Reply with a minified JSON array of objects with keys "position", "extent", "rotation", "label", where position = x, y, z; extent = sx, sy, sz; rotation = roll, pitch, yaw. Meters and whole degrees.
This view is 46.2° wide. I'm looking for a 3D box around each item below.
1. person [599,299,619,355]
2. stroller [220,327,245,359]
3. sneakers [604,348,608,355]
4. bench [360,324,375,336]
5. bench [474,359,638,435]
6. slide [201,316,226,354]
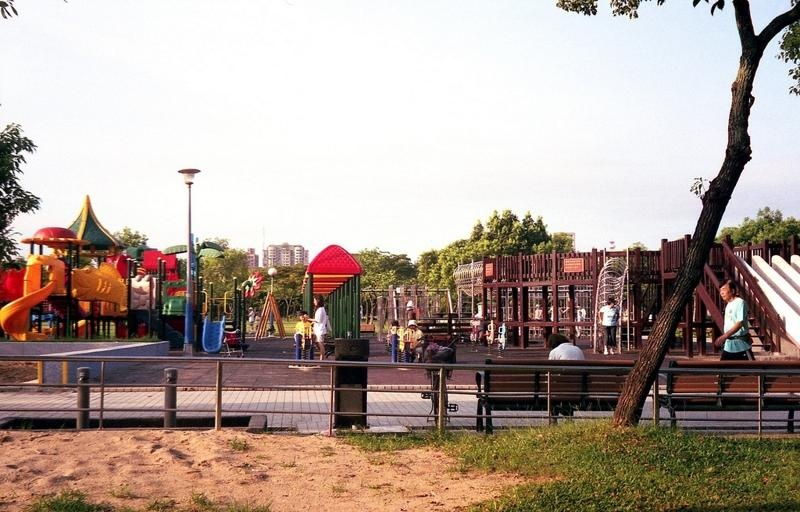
[{"position":[7.385,2.482,33.005],"extent":[0.654,1.933,1.579],"rotation":[2,1,13],"label":"person"},{"position":[-5.802,3.027,32.774],"extent":[1.013,1.417,1.134],"rotation":[2,-10,-23],"label":"stroller"},{"position":[7.302,3.348,33.237],"extent":[0.185,0.289,0.152],"rotation":[-3,1,2],"label":"sneakers"},{"position":[-1.638,3.906,49.646],"extent":[0.795,0.694,1.682],"rotation":[1,1,-1],"label":"bench"},{"position":[2.964,2.531,18.023],"extent":[2.741,1.071,0.668],"rotation":[1,1,-6],"label":"bench"},{"position":[-6.355,2.706,32.129],"extent":[0.689,1.187,0.884],"rotation":[1,1,-13],"label":"slide"}]
